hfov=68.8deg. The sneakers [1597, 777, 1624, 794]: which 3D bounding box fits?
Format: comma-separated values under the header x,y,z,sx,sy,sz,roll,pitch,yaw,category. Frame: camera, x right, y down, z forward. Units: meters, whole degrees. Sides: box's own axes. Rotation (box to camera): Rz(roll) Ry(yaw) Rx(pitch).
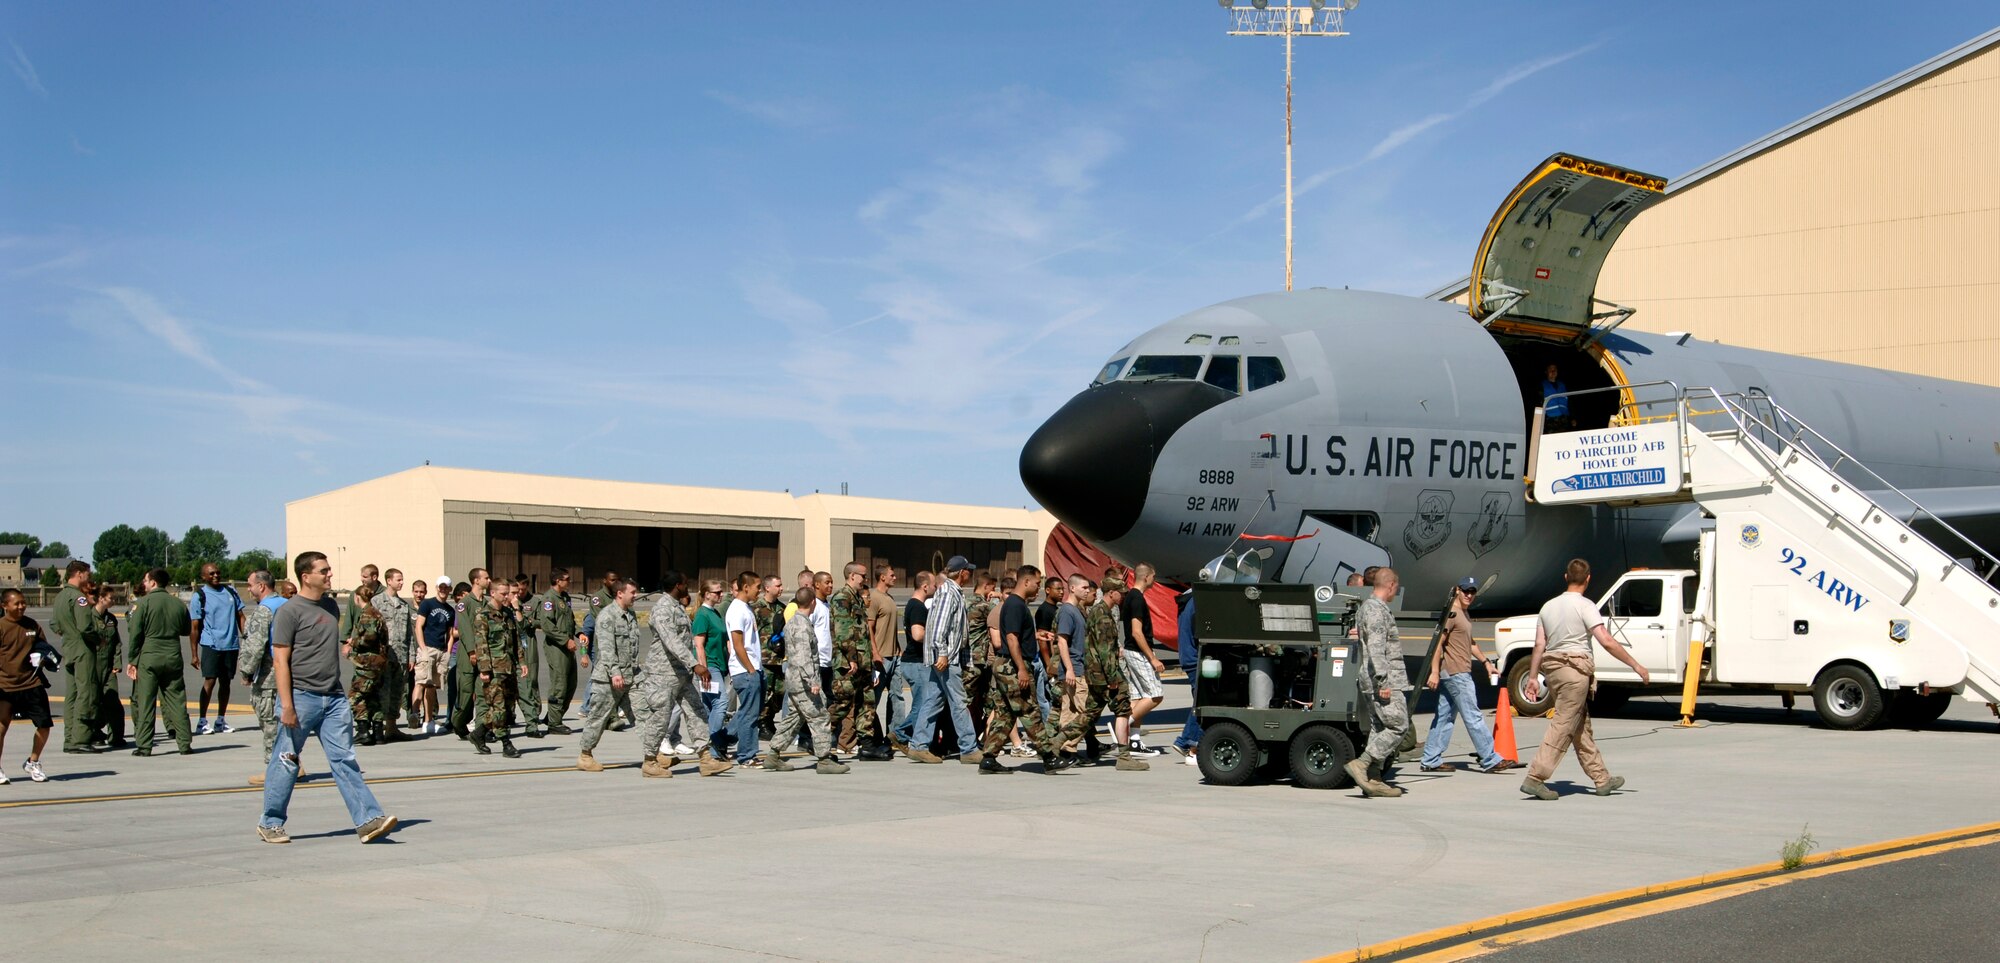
x,y,z,sx,sy,sz,roll,pitch,yaw,category
10.759,5.294,25.479,0.624,0.231,0.217,-3,2,-42,sneakers
